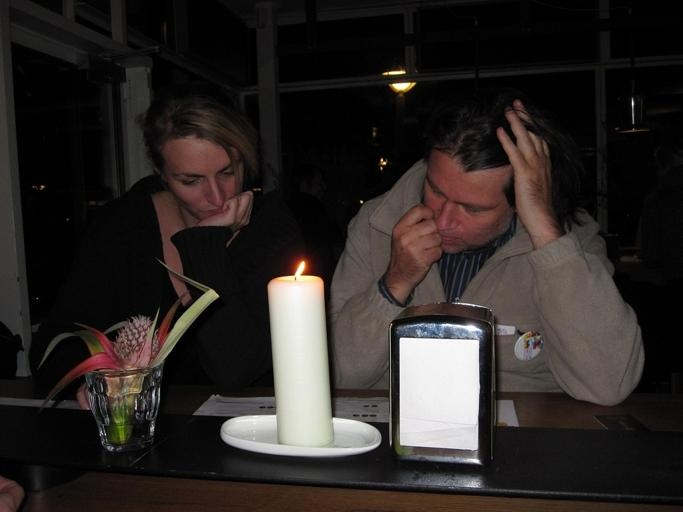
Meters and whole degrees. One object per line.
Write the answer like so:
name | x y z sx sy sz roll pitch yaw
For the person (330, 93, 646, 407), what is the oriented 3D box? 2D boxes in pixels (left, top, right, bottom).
person | 0.429 -0.033 2.040 0.961 0.924 0.530 1 4 24

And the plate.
plate | -0.080 0.377 1.328 0.211 0.024 0.129 3 5 1

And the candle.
candle | -0.079 0.214 1.281 0.121 0.339 0.038 -1 4 -3
